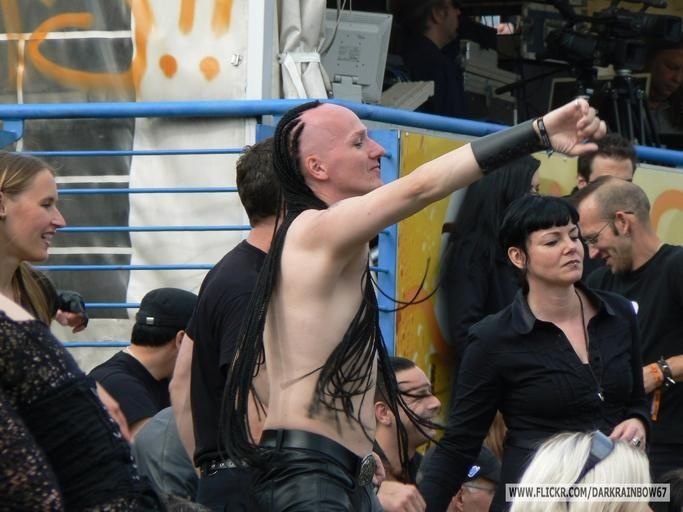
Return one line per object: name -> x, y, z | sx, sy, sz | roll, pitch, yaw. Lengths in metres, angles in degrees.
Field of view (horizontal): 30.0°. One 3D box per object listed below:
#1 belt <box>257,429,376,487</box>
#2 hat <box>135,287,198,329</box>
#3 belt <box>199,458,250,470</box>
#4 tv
belt -> -0.101, 0.827, 5.431 | 0.328, 0.081, 0.288 | 14, -14, 7
hat -> -0.960, 0.281, 6.906 | 0.295, 0.128, 0.196 | 1, 3, -10
belt -> -0.526, 0.938, 5.768 | 0.162, 0.040, 0.128 | -2, -7, 14
tv -> 0.088, -1.400, 8.958 | 0.367, 0.645, 0.429 | 3, 8, 25
